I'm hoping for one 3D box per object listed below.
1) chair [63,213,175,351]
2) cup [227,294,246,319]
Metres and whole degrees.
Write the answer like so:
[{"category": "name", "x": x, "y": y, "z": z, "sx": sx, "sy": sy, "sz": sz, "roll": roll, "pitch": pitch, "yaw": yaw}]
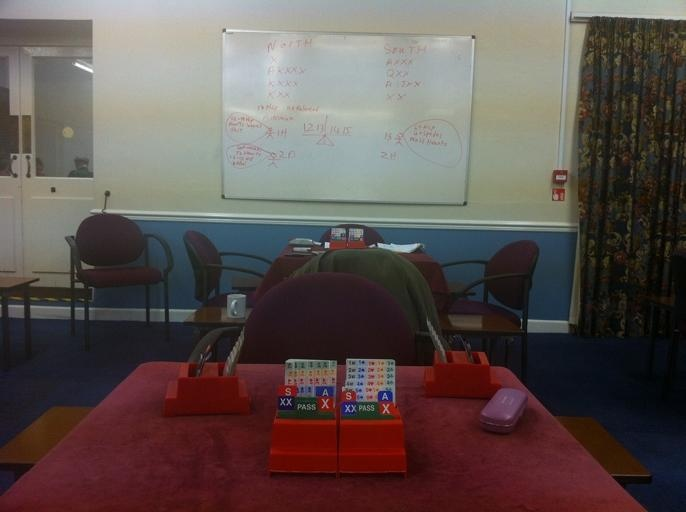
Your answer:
[{"category": "chair", "x": -1.530, "y": 0.116, "z": 3.722, "sx": 0.612, "sy": 0.853, "sz": 0.484, "roll": -3, "pitch": 3, "yaw": -39}, {"category": "cup", "x": -0.458, "y": 0.218, "z": 2.371, "sx": 0.066, "sy": 0.076, "sz": 0.105, "roll": 1, "pitch": 8, "yaw": 1}]
